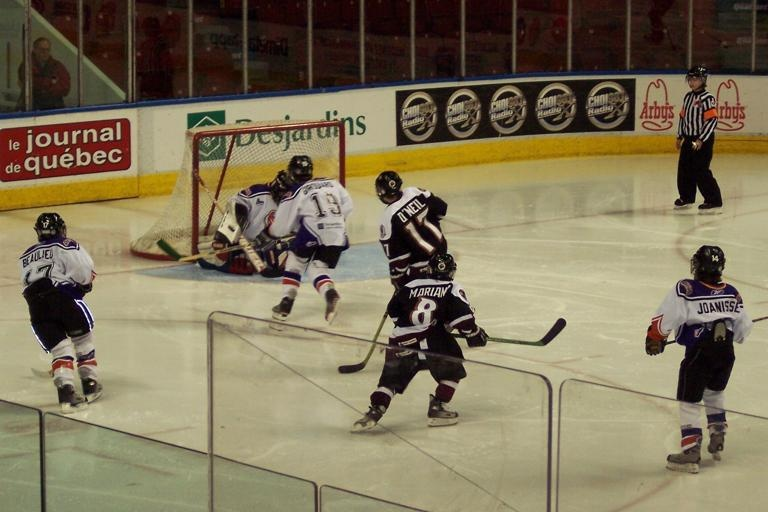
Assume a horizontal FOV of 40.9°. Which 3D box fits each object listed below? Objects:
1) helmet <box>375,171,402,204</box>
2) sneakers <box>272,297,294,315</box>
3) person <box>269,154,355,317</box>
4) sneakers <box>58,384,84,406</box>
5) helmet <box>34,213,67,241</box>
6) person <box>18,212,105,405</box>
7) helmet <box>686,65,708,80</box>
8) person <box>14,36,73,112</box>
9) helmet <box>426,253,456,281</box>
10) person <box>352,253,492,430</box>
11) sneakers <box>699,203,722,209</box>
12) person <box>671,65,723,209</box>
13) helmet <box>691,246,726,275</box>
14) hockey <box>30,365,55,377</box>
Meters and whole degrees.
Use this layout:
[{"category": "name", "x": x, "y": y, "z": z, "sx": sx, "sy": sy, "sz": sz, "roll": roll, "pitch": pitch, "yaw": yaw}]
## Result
[{"category": "helmet", "x": 0.040, "y": -0.516, "z": 7.803, "sx": 0.187, "sy": 0.253, "sz": 0.237, "roll": 0, "pitch": 3, "yaw": 0}, {"category": "sneakers", "x": -0.834, "y": 0.412, "z": 8.470, "sx": 0.166, "sy": 0.171, "sz": 0.199, "roll": -1, "pitch": 3, "yaw": -7}, {"category": "person", "x": -0.618, "y": -0.066, "z": 8.518, "sx": 0.678, "sy": 1.163, "sz": 0.699, "roll": 0, "pitch": 4, "yaw": 1}, {"category": "sneakers", "x": -2.079, "y": 0.921, "z": 6.831, "sx": 0.156, "sy": 0.154, "sz": 0.113, "roll": -1, "pitch": 4, "yaw": -17}, {"category": "helmet", "x": -2.318, "y": -0.201, "z": 7.144, "sx": 0.215, "sy": 0.206, "sz": 0.216, "roll": 4, "pitch": 26, "yaw": 4}, {"category": "person", "x": -2.171, "y": 0.356, "z": 6.990, "sx": 0.436, "sy": 1.284, "sz": 0.526, "roll": -4, "pitch": 5, "yaw": -42}, {"category": "helmet", "x": 3.504, "y": -2.049, "z": 11.507, "sx": 0.193, "sy": 0.166, "sz": 0.256, "roll": 0, "pitch": 3, "yaw": 13}, {"category": "person", "x": -3.753, "y": -2.044, "z": 11.564, "sx": 0.109, "sy": 0.790, "sz": 0.463, "roll": 3, "pitch": 5, "yaw": 42}, {"category": "helmet", "x": 0.363, "y": 0.069, "z": 6.575, "sx": 0.168, "sy": 0.163, "sz": 0.172, "roll": 3, "pitch": -11, "yaw": 2}, {"category": "person", "x": 0.237, "y": 0.540, "z": 6.405, "sx": 0.479, "sy": 0.924, "sz": 0.658, "roll": -26, "pitch": -55, "yaw": 32}, {"category": "sneakers", "x": 3.688, "y": -0.566, "z": 11.641, "sx": 0.252, "sy": 0.088, "sz": 0.084, "roll": 1, "pitch": 6, "yaw": -6}, {"category": "person", "x": 3.585, "y": -1.340, "z": 11.680, "sx": 0.472, "sy": 1.616, "sz": 0.492, "roll": -1, "pitch": 4, "yaw": -7}, {"category": "helmet", "x": 1.972, "y": 0.023, "z": 6.299, "sx": 0.168, "sy": 0.185, "sz": 0.216, "roll": 3, "pitch": 2, "yaw": -45}, {"category": "hockey", "x": -2.450, "y": 0.833, "z": 7.363, "sx": 0.149, "sy": 0.032, "sz": 0.136, "roll": 0, "pitch": 12, "yaw": -10}]
